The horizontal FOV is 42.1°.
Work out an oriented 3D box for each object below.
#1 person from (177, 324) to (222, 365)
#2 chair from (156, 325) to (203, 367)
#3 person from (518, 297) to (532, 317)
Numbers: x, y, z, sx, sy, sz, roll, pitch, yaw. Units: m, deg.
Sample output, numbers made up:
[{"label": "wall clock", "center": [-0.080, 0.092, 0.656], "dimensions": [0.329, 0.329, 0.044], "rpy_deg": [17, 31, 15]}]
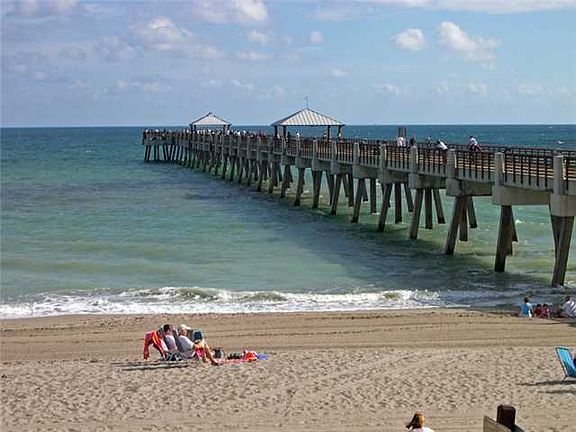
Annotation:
[{"label": "person", "center": [-2.343, 3.402, 19.735], "dimensions": [1.119, 1.162, 0.514], "rpy_deg": [-2, 7, -16]}, {"label": "chair", "center": [-2.875, 3.328, 19.562], "dimensions": [0.834, 0.771, 1.171], "rpy_deg": [-3, -9, 27]}, {"label": "person", "center": [7.152, 2.641, 22.488], "dimensions": [0.369, 0.638, 0.976], "rpy_deg": [2, 11, 17]}]
